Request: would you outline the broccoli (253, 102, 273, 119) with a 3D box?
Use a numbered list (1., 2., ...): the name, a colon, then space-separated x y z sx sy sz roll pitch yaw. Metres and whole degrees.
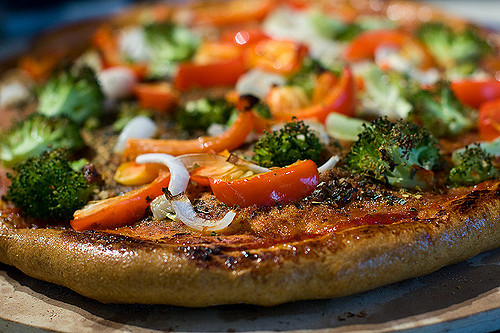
1. broccoli: 0.188 -0.783 7.059 0.232 0.072 0.238 -7 52 -39
